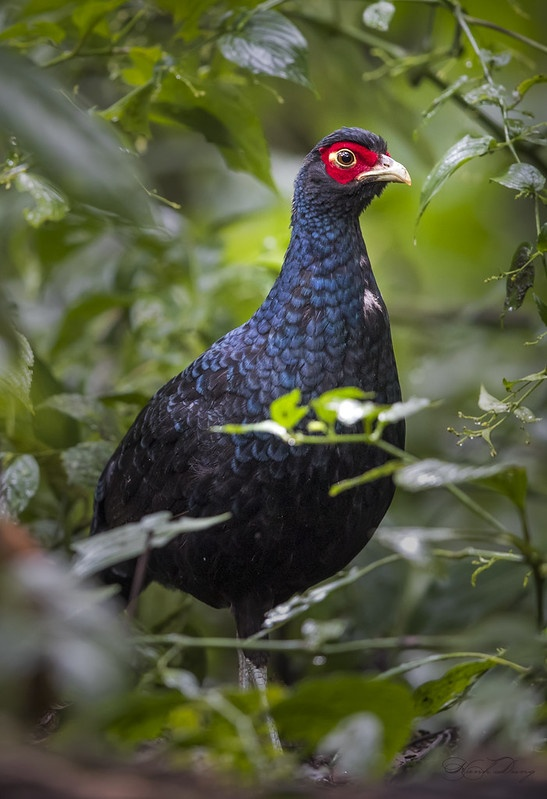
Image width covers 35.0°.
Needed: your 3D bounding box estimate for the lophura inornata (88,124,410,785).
[{"bbox_3d":[-0.018,-0.031,1.832,0.588,1.090,0.509,2,19,-20],"label":"lophura inornata"}]
